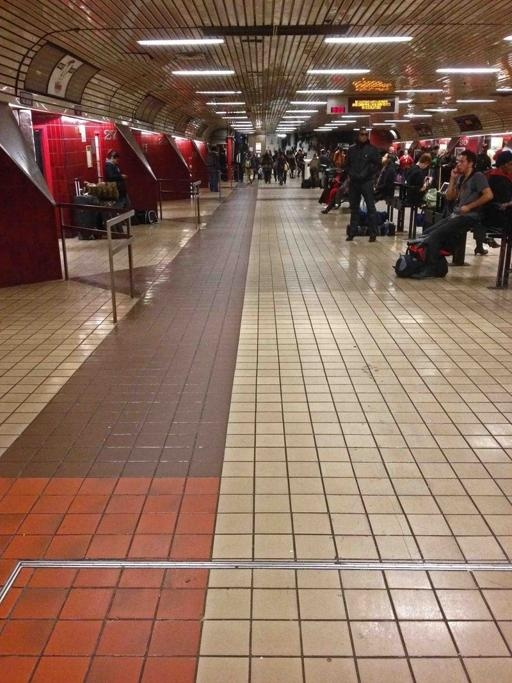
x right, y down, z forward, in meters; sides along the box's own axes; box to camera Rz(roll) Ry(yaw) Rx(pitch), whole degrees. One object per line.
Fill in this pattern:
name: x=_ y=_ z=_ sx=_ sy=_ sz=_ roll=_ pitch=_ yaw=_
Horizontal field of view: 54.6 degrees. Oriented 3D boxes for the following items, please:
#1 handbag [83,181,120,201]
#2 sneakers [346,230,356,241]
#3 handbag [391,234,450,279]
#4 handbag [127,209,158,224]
handbag: x=-3.705 y=-3.637 z=11.923 sx=0.664 sy=0.301 sz=0.642 roll=4 pitch=26 yaw=6
sneakers: x=2.075 y=-2.268 z=10.710 sx=0.131 sy=0.237 sz=0.362 roll=-1 pitch=1 yaw=9
handbag: x=2.425 y=-1.314 z=7.669 sx=0.822 sy=0.738 sz=0.536 roll=3 pitch=18 yaw=-3
handbag: x=-3.280 y=-3.616 z=14.447 sx=0.703 sy=0.428 sz=0.586 roll=-2 pitch=11 yaw=-5
